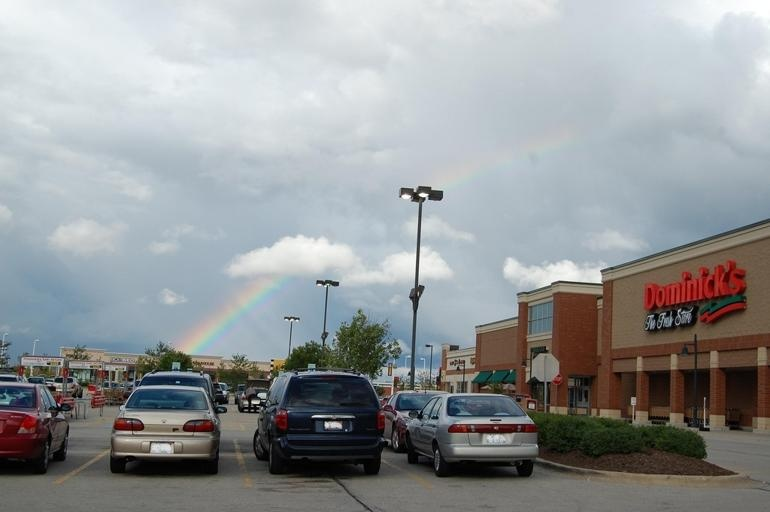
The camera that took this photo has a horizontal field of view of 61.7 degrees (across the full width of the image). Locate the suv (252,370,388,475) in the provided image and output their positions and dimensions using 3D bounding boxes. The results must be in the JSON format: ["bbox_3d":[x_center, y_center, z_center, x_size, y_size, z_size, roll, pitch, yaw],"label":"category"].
[{"bbox_3d":[-1.415,3.871,15.438,1.856,1.538,3.515,2,-6,-10],"label":"suv"}]

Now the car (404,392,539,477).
[{"bbox_3d":[2.101,4.695,17.024,2.129,2.185,3.562,14,-21,-32],"label":"car"}]
